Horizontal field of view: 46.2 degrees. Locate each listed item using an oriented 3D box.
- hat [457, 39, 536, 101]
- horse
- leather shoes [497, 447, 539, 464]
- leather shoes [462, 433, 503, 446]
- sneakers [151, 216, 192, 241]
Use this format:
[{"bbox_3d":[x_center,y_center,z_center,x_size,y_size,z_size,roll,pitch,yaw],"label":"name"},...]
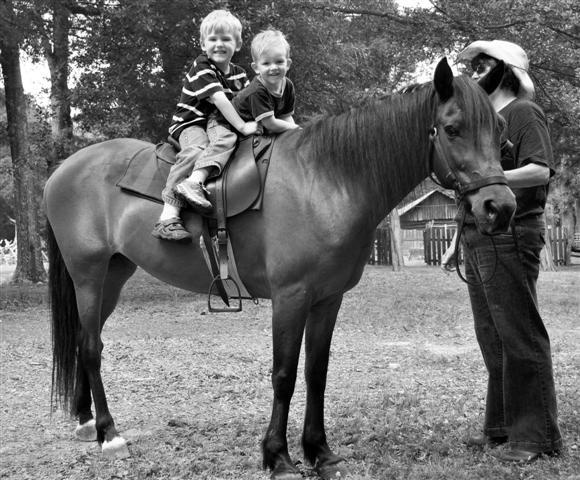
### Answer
[{"bbox_3d":[1.640,-1.350,5.309,0.517,0.327,0.390,24,-6,6],"label":"hat"},{"bbox_3d":[-0.163,0.335,6.421,4.674,4.310,1.469,2,-3,18],"label":"horse"},{"bbox_3d":[1.706,1.620,5.118,0.196,0.090,0.116,10,7,25],"label":"leather shoes"},{"bbox_3d":[1.548,1.611,5.447,0.205,0.097,0.123,-8,-9,31],"label":"leather shoes"},{"bbox_3d":[-0.890,-0.074,5.093,0.290,0.167,0.128,6,4,33],"label":"sneakers"}]
